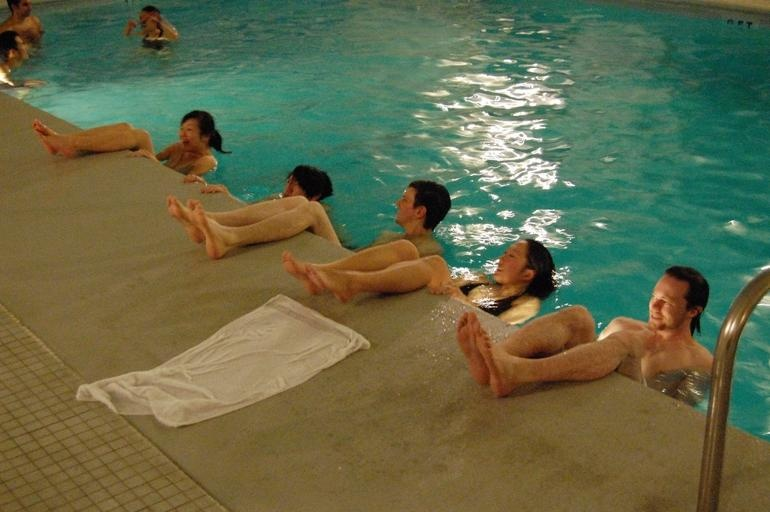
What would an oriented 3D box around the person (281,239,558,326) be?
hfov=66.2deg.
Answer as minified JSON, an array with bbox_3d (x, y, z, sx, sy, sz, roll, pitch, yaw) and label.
[{"bbox_3d":[0.334,0.167,3.927,2.041,0.484,0.746,5,8,-32],"label":"person"}]

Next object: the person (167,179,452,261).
[{"bbox_3d":[-0.583,-0.209,4.348,1.199,0.300,1.048,-6,19,-33],"label":"person"}]

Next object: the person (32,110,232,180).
[{"bbox_3d":[-2.313,-1.002,5.510,0.777,0.740,1.243,15,34,24],"label":"person"}]
